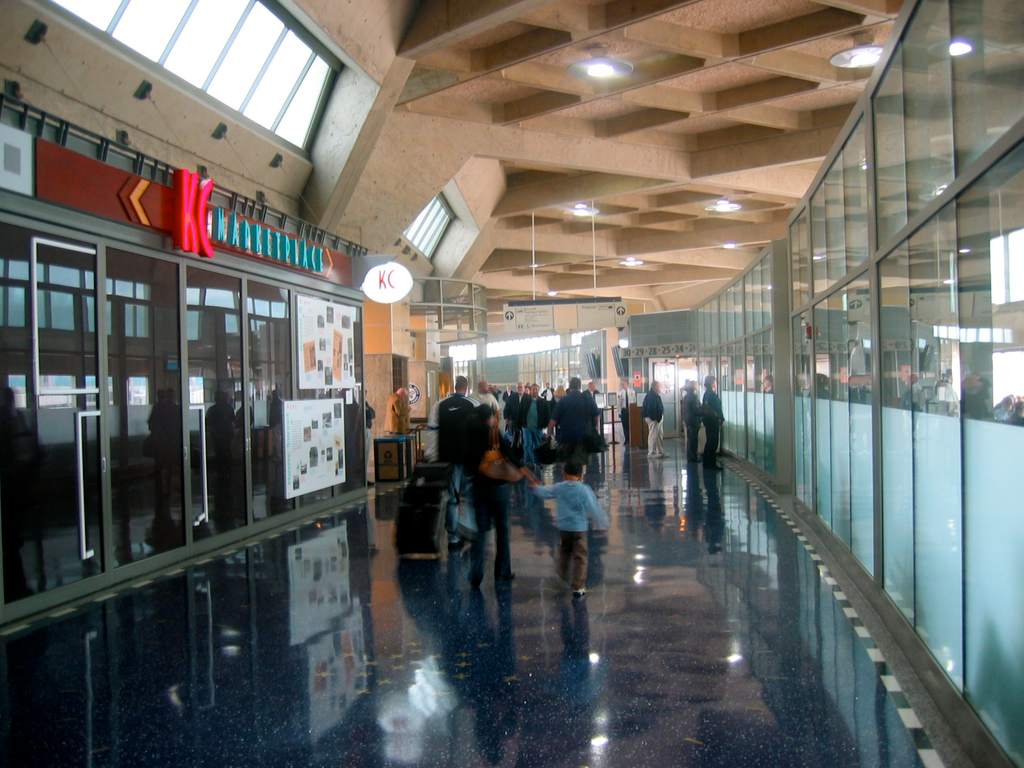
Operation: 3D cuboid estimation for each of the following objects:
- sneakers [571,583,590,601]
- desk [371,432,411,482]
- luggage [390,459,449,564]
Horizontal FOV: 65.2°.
[{"bbox_3d":[0.681,2.064,8.104,0.153,0.132,0.271,-1,3,6],"label":"sneakers"},{"bbox_3d":[-2.611,1.556,16.988,0.812,1.290,0.872,0,0,20],"label":"desk"},{"bbox_3d":[-1.209,1.566,10.265,0.674,1.258,0.722,0,11,-2],"label":"luggage"}]
